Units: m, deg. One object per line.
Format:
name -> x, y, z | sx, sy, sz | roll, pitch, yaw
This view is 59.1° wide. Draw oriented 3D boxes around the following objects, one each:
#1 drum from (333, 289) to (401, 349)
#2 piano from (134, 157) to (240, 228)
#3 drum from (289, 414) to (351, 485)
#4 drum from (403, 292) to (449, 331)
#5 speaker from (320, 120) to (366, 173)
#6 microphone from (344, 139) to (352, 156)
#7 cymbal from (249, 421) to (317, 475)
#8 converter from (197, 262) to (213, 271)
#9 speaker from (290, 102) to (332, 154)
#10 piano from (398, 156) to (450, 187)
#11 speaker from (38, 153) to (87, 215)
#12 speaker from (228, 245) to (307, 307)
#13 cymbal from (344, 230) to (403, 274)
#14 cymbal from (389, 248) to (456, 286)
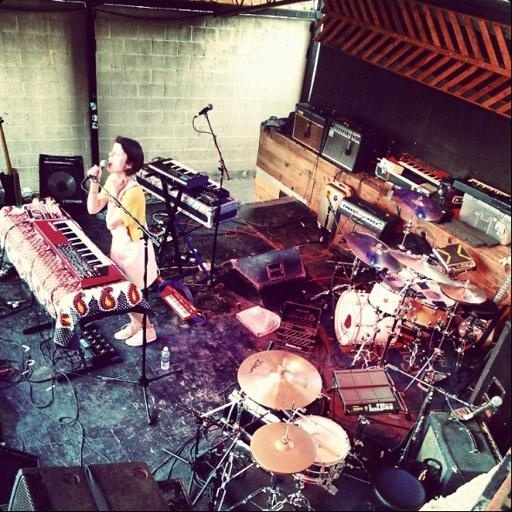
drum -> 1.108, 0.708, 4.832 | 0.652, 0.619, 0.638 | 3, 5, 43
piano -> -0.943, -0.811, 5.860 | 1.588, 0.512, 0.606 | 36, 37, 27
drum -> 0.510, 1.418, 3.310 | 0.601, 0.239, 0.459 | 10, 26, -10
drum -> 1.754, 0.597, 4.704 | 0.392, 0.189, 0.435 | 35, 25, 34
speaker -> 1.329, -1.697, 6.907 | 0.471, 0.594, 0.631 | -19, 42, -35
microphone -> 1.381, -1.639, 6.812 | 0.033, 0.244, 0.134 | -8, 33, -28
cymbal -> 0.167, 1.157, 2.759 | 0.390, 0.103, 0.406 | 15, 29, 13
converter -> -0.651, 0.128, 5.890 | 0.115, 0.040, 0.120 | -16, 29, -35
speaker -> 0.886, -2.075, 7.377 | 0.511, 0.578, 0.798 | -28, 54, -28
piano -> 2.358, -1.219, 6.364 | 0.410, 0.197, 1.028 | -12, 34, -33
speaker -> -2.875, -1.074, 6.740 | 0.674, 0.821, 0.404 | 5, 29, -7
speaker -> 0.132, 0.141, 5.625 | 0.985, 0.640, 0.705 | -13, 46, -24
cymbal -> 1.206, -0.048, 4.782 | 0.441, 0.101, 0.429 | -3, 44, -34
cymbal -> 1.661, 0.111, 4.569 | 0.415, 0.092, 0.411 | 32, 20, 21
